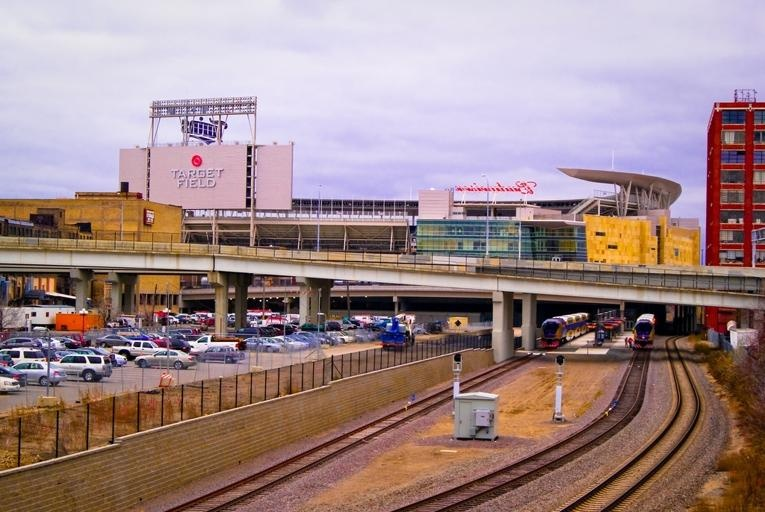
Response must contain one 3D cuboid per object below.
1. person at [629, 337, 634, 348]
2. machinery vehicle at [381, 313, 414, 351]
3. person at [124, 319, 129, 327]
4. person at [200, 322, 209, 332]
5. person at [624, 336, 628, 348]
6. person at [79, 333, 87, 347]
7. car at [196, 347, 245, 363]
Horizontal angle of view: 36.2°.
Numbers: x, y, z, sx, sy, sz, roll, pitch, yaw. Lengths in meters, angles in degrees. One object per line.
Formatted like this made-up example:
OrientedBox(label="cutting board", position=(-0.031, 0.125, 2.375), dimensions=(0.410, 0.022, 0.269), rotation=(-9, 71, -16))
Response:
OrientedBox(label="person", position=(30.954, 10.680, 145.289), dimensions=(0.725, 0.525, 1.085), rotation=(-13, 27, 4))
OrientedBox(label="machinery vehicle", position=(1.894, 8.480, 137.372), dimensions=(2.650, 3.720, 8.269), rotation=(6, 4, 6))
OrientedBox(label="person", position=(-32.174, 8.394, 148.641), dimensions=(0.883, 0.746, 1.406), rotation=(1, -6, -10))
OrientedBox(label="person", position=(-24.451, 9.778, 162.051), dimensions=(1.030, 1.418, 3.403), rotation=(18, -3, -10))
OrientedBox(label="person", position=(30.304, 10.607, 144.765), dimensions=(0.546, 1.231, 1.797), rotation=(-1, -1, 12))
OrientedBox(label="person", position=(-30.524, 8.531, 119.839), dimensions=(0.836, 1.038, 2.767), rotation=(-3, -4, -9))
OrientedBox(label="car", position=(-15.076, 9.161, 109.701), dimensions=(4.028, 1.516, 2.980), rotation=(-1, -1, 18))
